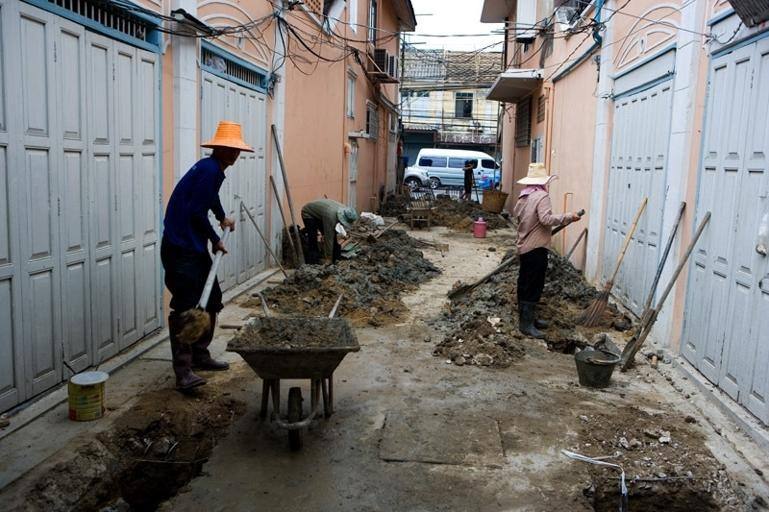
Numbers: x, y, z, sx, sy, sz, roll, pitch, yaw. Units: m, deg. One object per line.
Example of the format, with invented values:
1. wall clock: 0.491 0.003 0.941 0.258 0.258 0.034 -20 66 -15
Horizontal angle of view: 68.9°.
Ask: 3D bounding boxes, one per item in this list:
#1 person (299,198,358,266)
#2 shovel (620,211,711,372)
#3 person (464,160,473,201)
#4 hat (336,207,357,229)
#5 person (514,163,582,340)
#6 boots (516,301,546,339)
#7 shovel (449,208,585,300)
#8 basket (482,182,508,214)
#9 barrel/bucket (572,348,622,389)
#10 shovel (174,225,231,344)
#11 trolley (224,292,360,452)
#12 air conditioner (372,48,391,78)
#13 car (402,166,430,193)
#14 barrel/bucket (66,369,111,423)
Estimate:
1. person: -1.154 -0.431 10.643 1.189 1.425 1.011 8 34 7
2. shovel: 3.245 0.370 6.728 0.790 1.902 0.845 3 12 6
3. person: 3.406 -3.052 22.661 0.306 1.457 0.581 2 12 3
4. hat: -0.701 -0.683 10.378 0.377 0.382 0.320 -4 13 -25
5. person: 2.104 -0.075 7.647 0.568 2.270 0.795 0 12 -9
6. boots: 1.959 0.882 7.669 0.392 0.534 0.527 -2 9 3
7. shovel: 2.433 0.021 10.315 3.035 0.320 0.464 -39 15 15
8. basket: 3.815 -1.917 19.584 0.783 0.692 0.874 5 -2 -8
9. barrel/bucket: 2.394 1.278 6.309 0.487 0.344 0.377 -6 14 -32
10. shovel: -1.843 0.448 5.678 0.389 1.100 0.800 -1 12 -11
11. trolley: -0.862 1.212 5.412 1.136 1.010 1.107 -1 12 -11
12. air conditioner: -0.102 -6.264 18.293 0.360 0.854 0.982 0 5 10
13. car: 1.559 -3.779 27.450 1.236 0.946 1.808 2 12 1
14. barrel/bucket: -2.751 1.313 5.352 0.387 0.429 0.403 1 3 0
